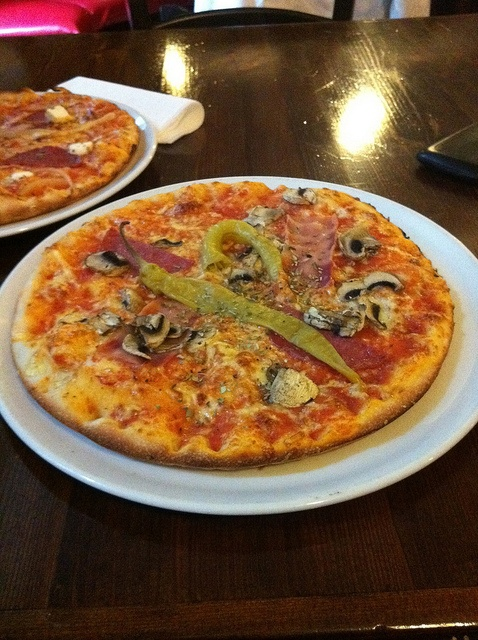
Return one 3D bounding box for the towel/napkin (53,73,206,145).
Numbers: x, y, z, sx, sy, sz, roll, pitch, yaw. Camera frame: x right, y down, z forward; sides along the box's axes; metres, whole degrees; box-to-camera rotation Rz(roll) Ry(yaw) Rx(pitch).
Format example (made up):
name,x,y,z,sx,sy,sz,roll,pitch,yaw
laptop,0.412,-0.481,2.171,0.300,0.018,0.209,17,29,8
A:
name,x,y,z,sx,sy,sz,roll,pitch,yaw
towel/napkin,-0.510,-0.980,2.989,0.763,0.120,0.384,22,47,31
